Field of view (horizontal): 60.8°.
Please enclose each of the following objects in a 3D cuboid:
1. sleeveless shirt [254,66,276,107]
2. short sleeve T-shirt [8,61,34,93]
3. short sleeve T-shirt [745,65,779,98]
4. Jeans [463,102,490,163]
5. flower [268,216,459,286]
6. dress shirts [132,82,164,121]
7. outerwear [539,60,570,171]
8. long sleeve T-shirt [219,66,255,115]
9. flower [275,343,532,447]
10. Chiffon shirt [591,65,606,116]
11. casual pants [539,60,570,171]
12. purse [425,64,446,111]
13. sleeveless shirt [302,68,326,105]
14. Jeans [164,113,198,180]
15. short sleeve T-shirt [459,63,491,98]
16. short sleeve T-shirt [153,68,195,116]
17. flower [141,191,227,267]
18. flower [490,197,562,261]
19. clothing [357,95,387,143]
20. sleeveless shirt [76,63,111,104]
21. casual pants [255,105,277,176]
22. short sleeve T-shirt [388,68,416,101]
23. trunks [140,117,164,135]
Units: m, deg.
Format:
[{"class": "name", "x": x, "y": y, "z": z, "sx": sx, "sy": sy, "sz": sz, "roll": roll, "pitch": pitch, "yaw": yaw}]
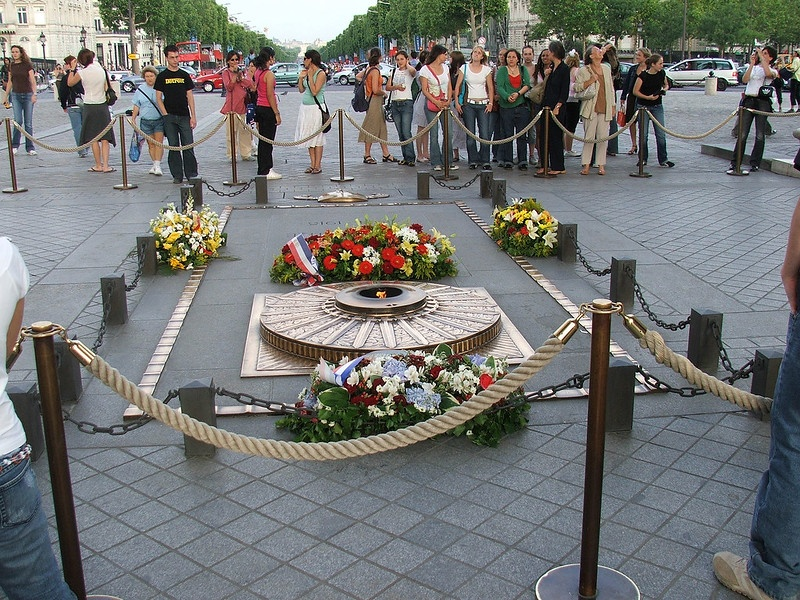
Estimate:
[{"class": "sleeveless shirt", "x": -2.462, "y": -3.942, "z": 12.610, "sx": 0.438, "sy": 0.686, "sz": 0.538, "roll": -10, "pitch": 25, "yaw": -38}, {"class": "short sleeve T-shirt", "x": -8.522, "y": -5.008, "z": 15.272, "sx": 0.613, "sy": 0.735, "sz": 0.402, "roll": -2, "pitch": 24, "yaw": -20}, {"class": "short sleeve T-shirt", "x": 6.716, "y": -4.085, "z": 12.681, "sx": 0.467, "sy": 0.551, "sz": 0.385, "roll": 6, "pitch": 20, "yaw": 24}, {"class": "Jeans", "x": 1.526, "y": -3.318, "z": 13.538, "sx": 0.588, "sy": 1.321, "sz": 0.391, "roll": 3, "pitch": 7, "yaw": 13}, {"class": "flower", "x": -0.174, "y": -0.462, "z": 7.155, "sx": 1.563, "sy": 0.577, "sz": 0.652, "roll": -5, "pitch": 19, "yaw": -7}, {"class": "dress shirts", "x": -4.595, "y": -3.631, "z": 12.479, "sx": 0.633, "sy": 0.630, "sz": 0.344, "roll": -6, "pitch": 24, "yaw": -27}, {"class": "outerwear", "x": 2.908, "y": -3.443, "z": 12.810, "sx": 0.558, "sy": 1.968, "sz": 1.036, "roll": 1, "pitch": 19, "yaw": 12}, {"class": "long sleeve T-shirt", "x": -3.284, "y": -4.213, "z": 13.525, "sx": 0.594, "sy": 0.977, "sz": 0.429, "roll": -10, "pitch": 27, "yaw": -32}, {"class": "flower", "x": -0.089, "y": 0.587, "z": 4.369, "sx": 1.431, "sy": 0.455, "sz": 0.484, "roll": -6, "pitch": 19, "yaw": -9}, {"class": "Chiffon shirt", "x": 3.678, "y": -3.792, "z": 12.592, "sx": 0.360, "sy": 0.656, "sz": 0.157, "roll": -3, "pitch": 5, "yaw": -1}, {"class": "casual pants", "x": 2.868, "y": -3.598, "z": 12.854, "sx": 0.562, "sy": 2.218, "sz": 0.655, "roll": -6, "pitch": 13, "yaw": -26}, {"class": "purse", "x": 0.745, "y": -4.153, "z": 13.408, "sx": 0.474, "sy": 0.828, "sz": 0.297, "roll": -7, "pitch": -1, "yaw": -33}, {"class": "sleeveless shirt", "x": -1.553, "y": -3.924, "z": 12.543, "sx": 0.295, "sy": 0.616, "sz": 0.753, "roll": -15, "pitch": 22, "yaw": -32}, {"class": "Jeans", "x": -4.028, "y": -2.850, "z": 12.494, "sx": 0.558, "sy": 1.257, "sz": 0.374, "roll": -3, "pitch": 1, "yaw": -20}, {"class": "short sleeve T-shirt", "x": 1.468, "y": -4.238, "z": 13.169, "sx": 0.612, "sy": 0.591, "sz": 0.322, "roll": -2, "pitch": 23, "yaw": -4}, {"class": "short sleeve T-shirt", "x": -4.091, "y": -3.722, "z": 12.239, "sx": 0.822, "sy": 0.937, "sz": 0.355, "roll": -10, "pitch": 30, "yaw": -22}, {"class": "flower", "x": -2.433, "y": -0.762, "z": 7.791, "sx": 0.762, "sy": 0.629, "sz": 0.873, "roll": 11, "pitch": 40, "yaw": 1}, {"class": "flower", "x": 1.493, "y": -0.876, "z": 8.126, "sx": 0.544, "sy": 0.641, "sz": 0.936, "roll": -13, "pitch": 21, "yaw": -29}, {"class": "clothing", "x": -0.581, "y": -3.768, "z": 13.759, "sx": 0.672, "sy": 1.222, "sz": 0.423, "roll": -6, "pitch": 35, "yaw": -9}, {"class": "sleeveless shirt", "x": -5.919, "y": -4.190, "z": 13.165, "sx": 0.496, "sy": 0.779, "sz": 0.349, "roll": -10, "pitch": 20, "yaw": -21}, {"class": "casual pants", "x": -2.517, "y": -2.980, "z": 12.701, "sx": 0.460, "sy": 1.239, "sz": 0.551, "roll": 0, "pitch": 19, "yaw": 7}, {"class": "short sleeve T-shirt", "x": 0.055, "y": -4.340, "z": 13.664, "sx": 0.673, "sy": 0.795, "sz": 0.451, "roll": -2, "pitch": 29, "yaw": -3}, {"class": "trunks", "x": -4.565, "y": -3.235, "z": 12.634, "sx": 0.470, "sy": 0.425, "sz": 0.330, "roll": -4, "pitch": 35, "yaw": -17}]
